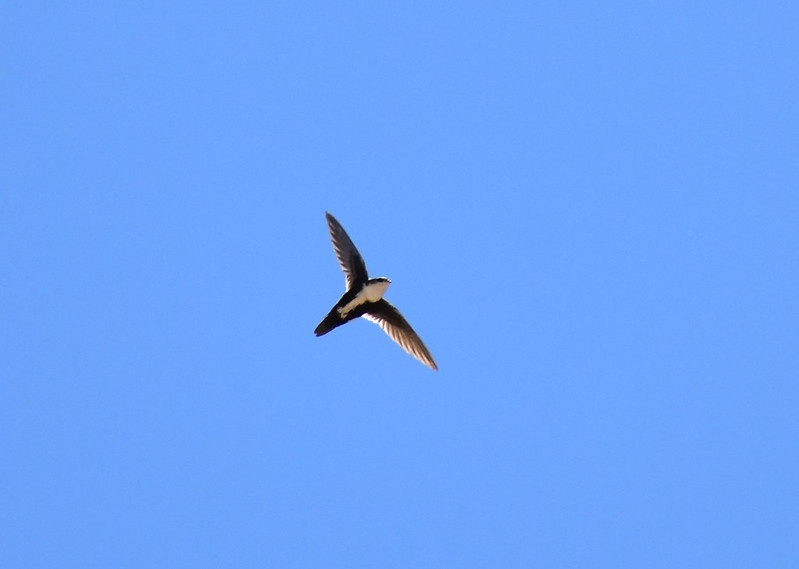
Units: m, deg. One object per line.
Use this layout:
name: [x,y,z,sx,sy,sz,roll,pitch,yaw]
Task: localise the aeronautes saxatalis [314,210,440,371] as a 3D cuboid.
aeronautes saxatalis: [-0.837,0.658,29.959,1.622,2.847,3.777,-30,-77,2]
